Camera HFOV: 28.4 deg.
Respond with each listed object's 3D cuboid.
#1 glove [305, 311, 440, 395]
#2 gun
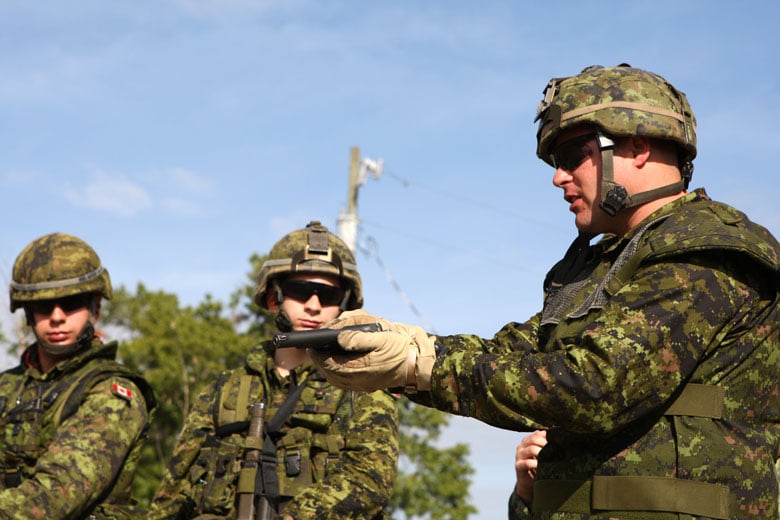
[{"bbox_3d":[-0.083,0.548,11.656,0.681,1.104,0.787,0,0,5],"label":"glove"},{"bbox_3d":[-0.450,0.556,11.391,0.796,0.257,0.210,3,-28,-1],"label":"gun"}]
